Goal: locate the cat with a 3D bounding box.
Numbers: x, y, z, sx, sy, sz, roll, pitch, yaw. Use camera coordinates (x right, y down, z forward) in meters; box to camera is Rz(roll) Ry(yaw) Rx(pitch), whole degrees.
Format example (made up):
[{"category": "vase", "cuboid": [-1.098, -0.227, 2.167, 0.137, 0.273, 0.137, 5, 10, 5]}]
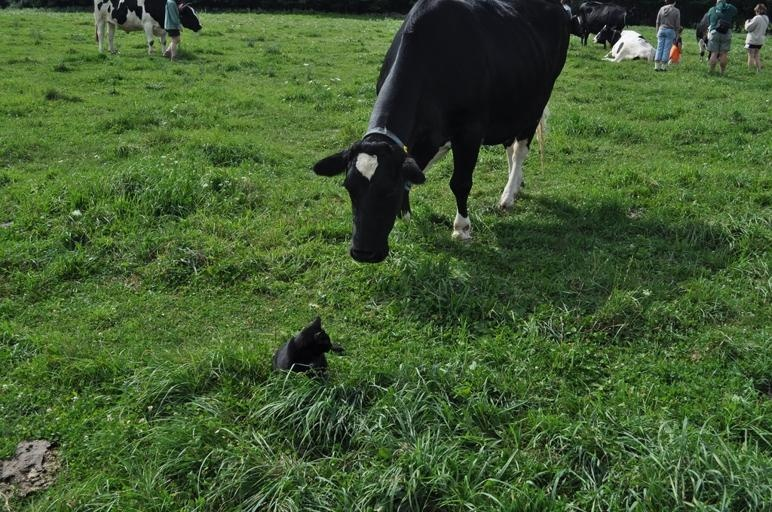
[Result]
[{"category": "cat", "cuboid": [-0.927, 0.988, 7.316, 0.681, 0.703, 0.440, -2, 20, -7]}]
